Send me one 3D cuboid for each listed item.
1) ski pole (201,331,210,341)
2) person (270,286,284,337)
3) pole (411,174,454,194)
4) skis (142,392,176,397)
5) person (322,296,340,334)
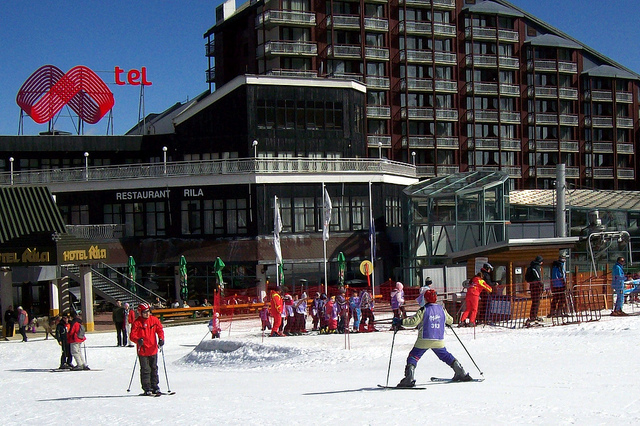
[{"bbox_3d":[-7.557,8.028,69.125,0.096,0.090,1.014,26,-56,-20],"label":"ski pole"},{"bbox_3d":[-2.742,6.093,65.007,0.801,2.811,1.269,-2,11,-3],"label":"person"},{"bbox_3d":[9.032,-2.364,85.810,0.233,0.272,6.713,-8,16,43],"label":"pole"},{"bbox_3d":[-8.328,9.304,54.234,1.095,0.132,0.140,-4,1,-10],"label":"skis"},{"bbox_3d":[0.672,6.271,65.286,0.811,2.149,0.864,1,11,16],"label":"person"}]
